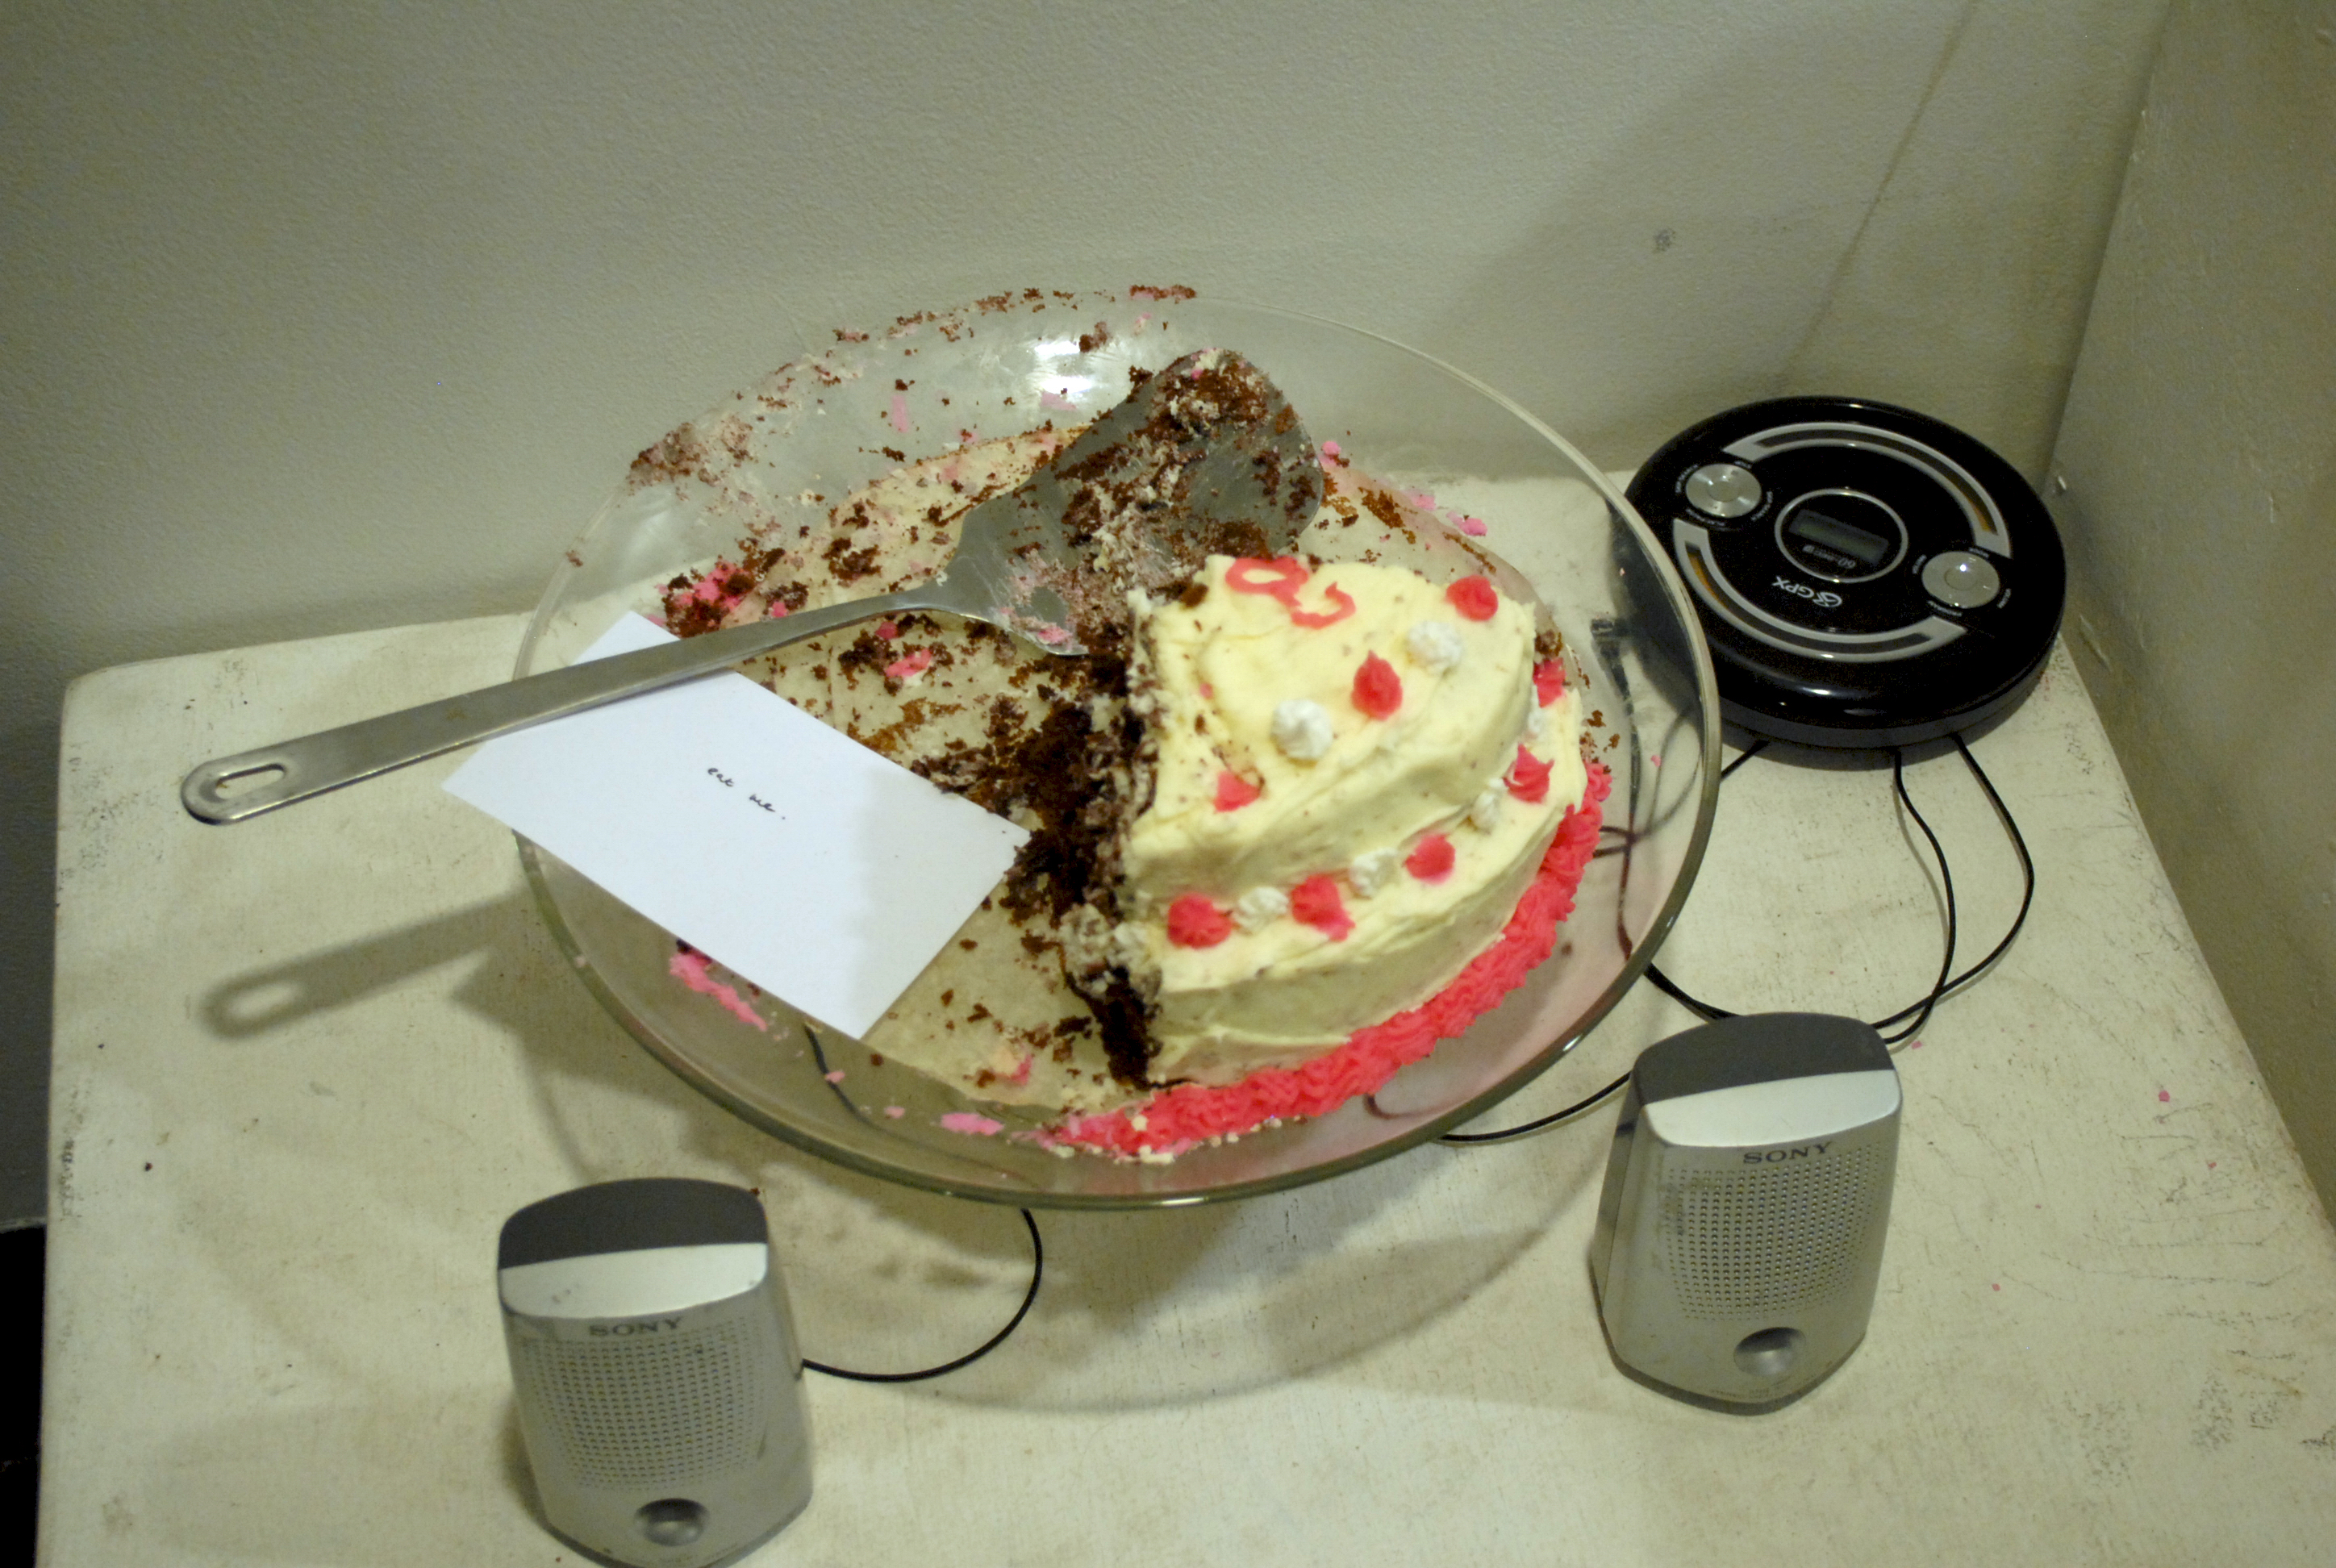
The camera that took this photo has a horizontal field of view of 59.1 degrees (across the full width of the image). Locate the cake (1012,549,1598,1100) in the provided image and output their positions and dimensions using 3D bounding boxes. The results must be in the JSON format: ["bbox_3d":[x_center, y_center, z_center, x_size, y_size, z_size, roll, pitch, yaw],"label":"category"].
[{"bbox_3d":[0.108,0.012,1.356,0.356,0.255,0.269,0,37,-1],"label":"cake"}]

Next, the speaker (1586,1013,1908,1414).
[{"bbox_3d":[0.379,0.274,1.330,0.193,0.260,0.144,-13,43,-4],"label":"speaker"}]
